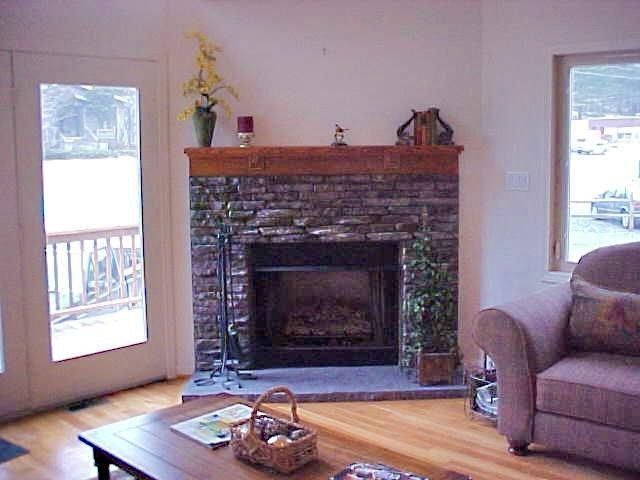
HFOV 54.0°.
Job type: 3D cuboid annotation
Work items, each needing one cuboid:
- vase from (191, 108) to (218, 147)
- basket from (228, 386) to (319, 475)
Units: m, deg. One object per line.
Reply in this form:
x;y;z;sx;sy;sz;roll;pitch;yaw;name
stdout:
-0.828;-0.808;4.499;0.163;0.282;0.136;-1;4;-14;vase
-0.196;0.856;2.968;0.418;0.372;0.315;5;3;38;basket
